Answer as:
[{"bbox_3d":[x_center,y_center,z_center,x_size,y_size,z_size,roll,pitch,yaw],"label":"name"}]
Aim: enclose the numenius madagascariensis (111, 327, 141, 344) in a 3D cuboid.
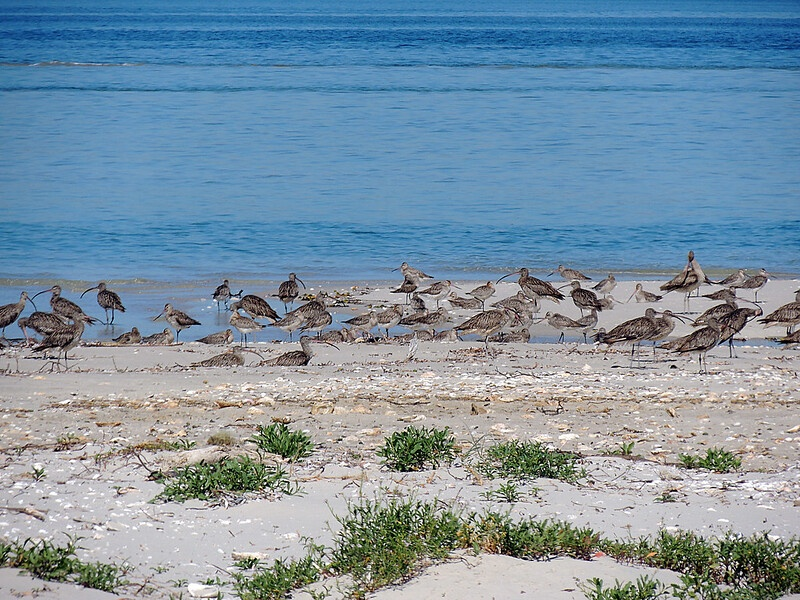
[{"bbox_3d":[-9.607,1.268,48.872,0.969,0.522,0.643,-1,4,-4],"label":"numenius madagascariensis"}]
